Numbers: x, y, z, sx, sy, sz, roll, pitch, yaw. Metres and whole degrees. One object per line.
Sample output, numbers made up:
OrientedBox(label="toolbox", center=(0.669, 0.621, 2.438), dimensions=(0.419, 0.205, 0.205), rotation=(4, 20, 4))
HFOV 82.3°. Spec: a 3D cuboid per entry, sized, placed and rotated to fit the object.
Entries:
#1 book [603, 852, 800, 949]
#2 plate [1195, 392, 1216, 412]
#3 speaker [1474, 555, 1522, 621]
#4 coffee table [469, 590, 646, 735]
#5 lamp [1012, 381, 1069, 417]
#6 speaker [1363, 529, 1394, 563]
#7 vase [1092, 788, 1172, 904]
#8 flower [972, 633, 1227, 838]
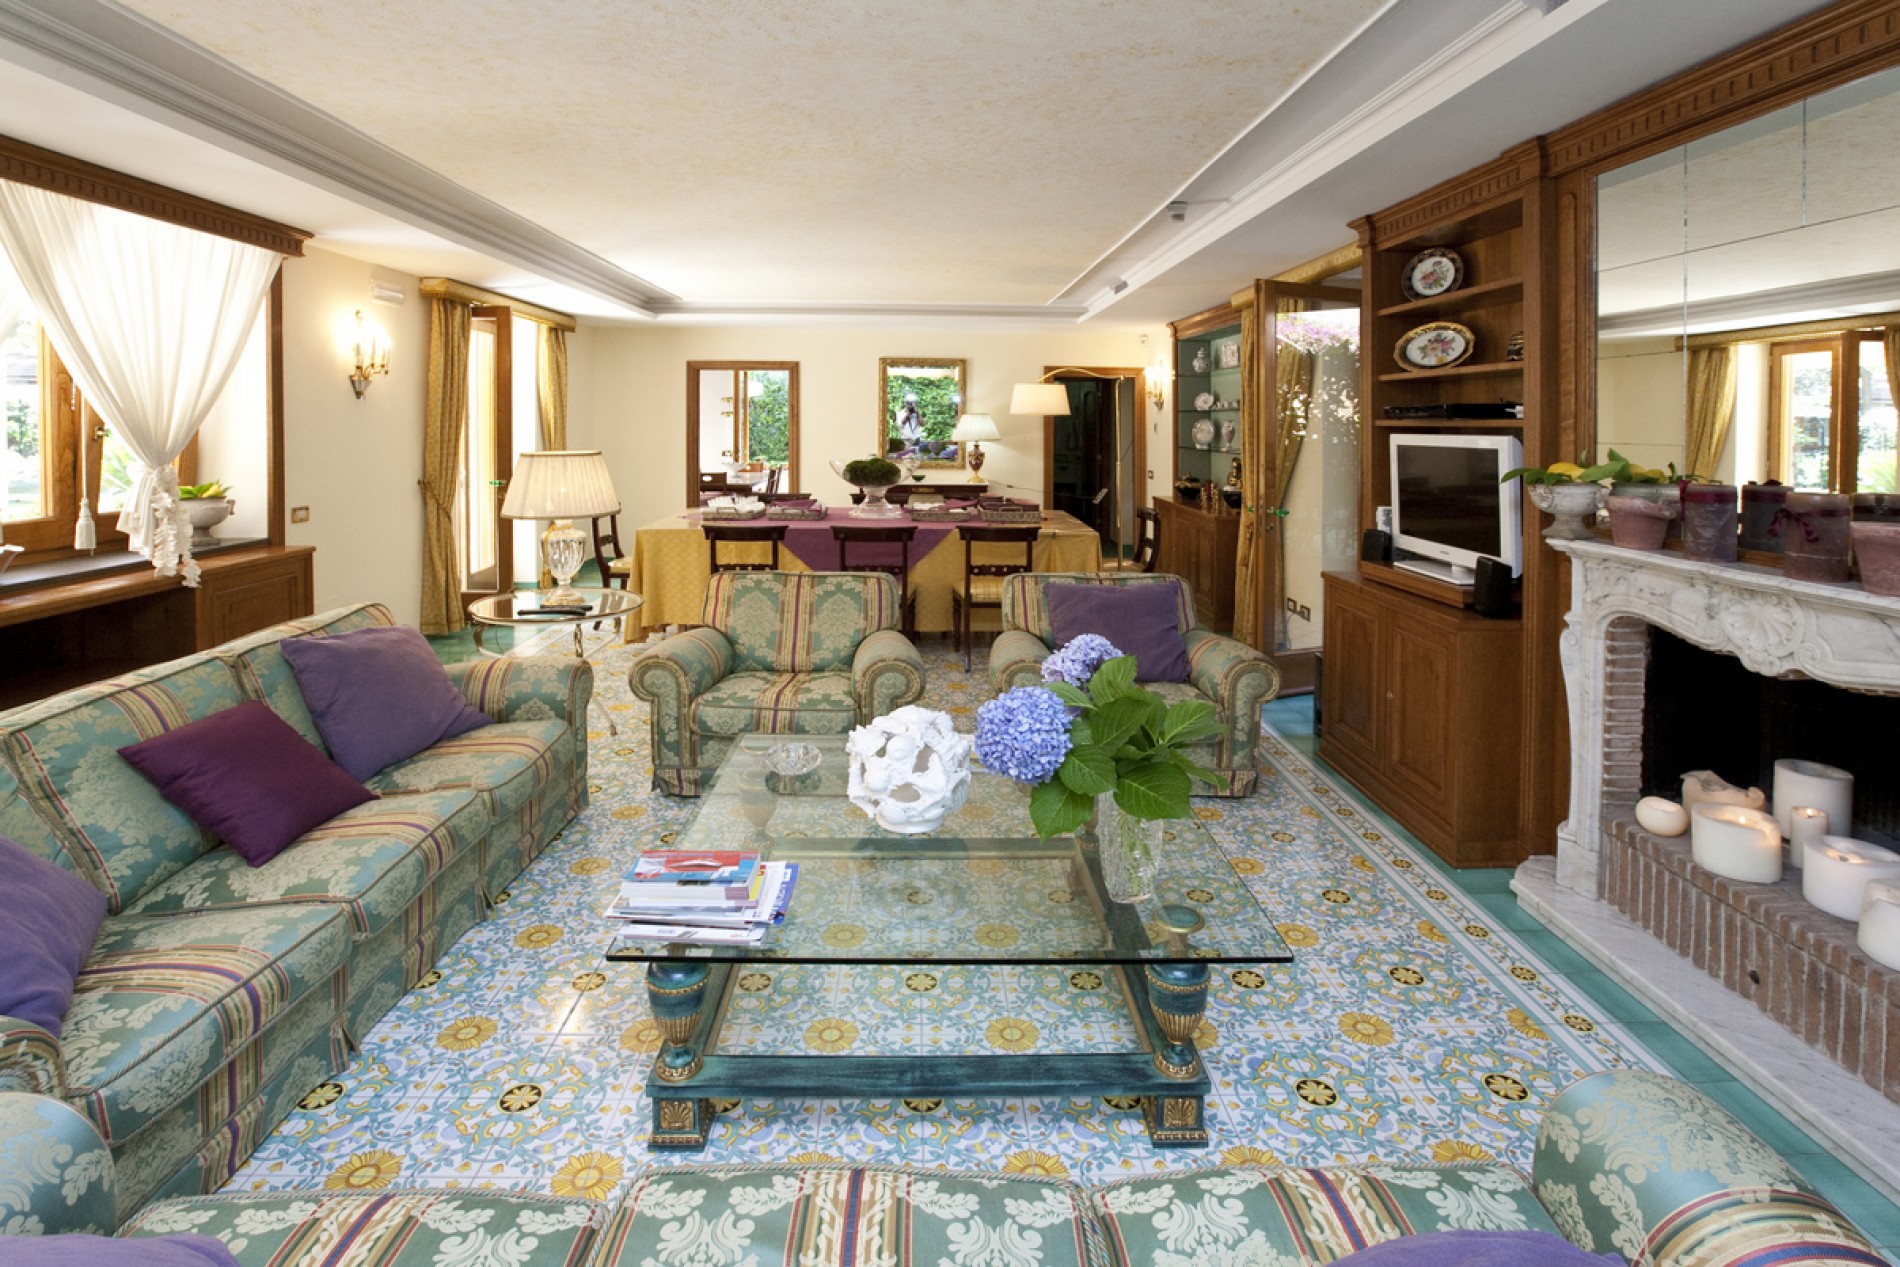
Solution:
OrientedBox(label="book", center=(-0.709, 0.750, 3.182), dimensions=(0.479, 0.158, 0.416), rotation=(-1, 12, 1))
OrientedBox(label="plate", center=(2.145, -1.974, 9.246), dimensions=(0.052, 0.149, 0.172), rotation=(10, -6, -30))
OrientedBox(label="speaker", center=(2.269, -0.196, 4.504), dimensions=(0.222, 0.243, 0.180), rotation=(-1, 13, 0))
OrientedBox(label="coffee table", center=(-2.053, 0.150, 5.787), dimensions=(0.835, 0.536, 0.794), rotation=(6, 13, 18))
OrientedBox(label="lamp", center=(0.858, -2.343, 10.832), dimensions=(0.497, 0.318, 0.896), rotation=(-1, 12, 2))
OrientedBox(label="speaker", center=(2.075, -0.426, 5.331), dimensions=(0.163, 0.187, 0.157), rotation=(5, 2, 11))
OrientedBox(label="vase", center=(0.557, 0.637, 3.284), dimensions=(0.319, 0.307, 0.296), rotation=(-2, -8, 5))
OrientedBox(label="flower", center=(0.439, 0.298, 3.121), dimensions=(0.591, 0.505, 0.449), rotation=(6, 14, 30))
